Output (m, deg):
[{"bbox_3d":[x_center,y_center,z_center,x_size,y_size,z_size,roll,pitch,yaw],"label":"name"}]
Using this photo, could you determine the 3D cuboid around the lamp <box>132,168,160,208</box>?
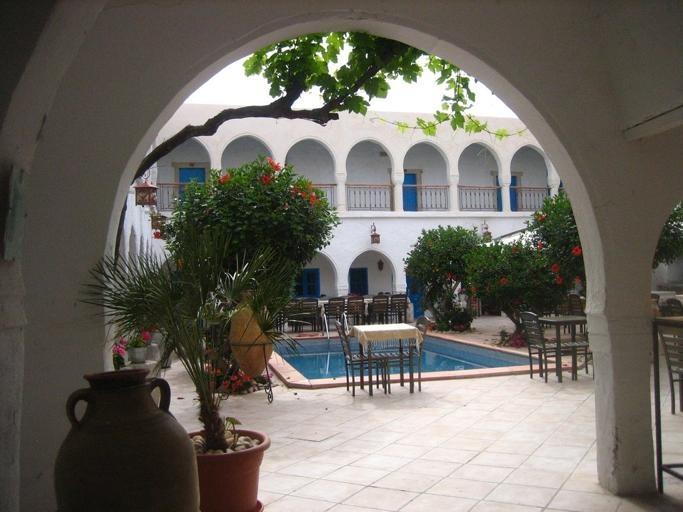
[{"bbox_3d":[-3.644,-1.200,9.990,0.450,0.591,0.452,2,5,31],"label":"lamp"}]

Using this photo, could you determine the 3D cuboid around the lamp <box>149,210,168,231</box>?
[{"bbox_3d":[-4.522,-0.897,13.525,0.510,0.619,0.550,4,2,43],"label":"lamp"}]

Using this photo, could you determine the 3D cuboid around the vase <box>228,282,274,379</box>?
[{"bbox_3d":[-0.810,0.763,4.770,0.310,0.582,0.346,-6,-11,5],"label":"vase"}]

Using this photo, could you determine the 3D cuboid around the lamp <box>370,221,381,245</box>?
[{"bbox_3d":[1.211,-0.777,19.390,0.417,0.777,0.432,-1,-1,-6],"label":"lamp"}]
